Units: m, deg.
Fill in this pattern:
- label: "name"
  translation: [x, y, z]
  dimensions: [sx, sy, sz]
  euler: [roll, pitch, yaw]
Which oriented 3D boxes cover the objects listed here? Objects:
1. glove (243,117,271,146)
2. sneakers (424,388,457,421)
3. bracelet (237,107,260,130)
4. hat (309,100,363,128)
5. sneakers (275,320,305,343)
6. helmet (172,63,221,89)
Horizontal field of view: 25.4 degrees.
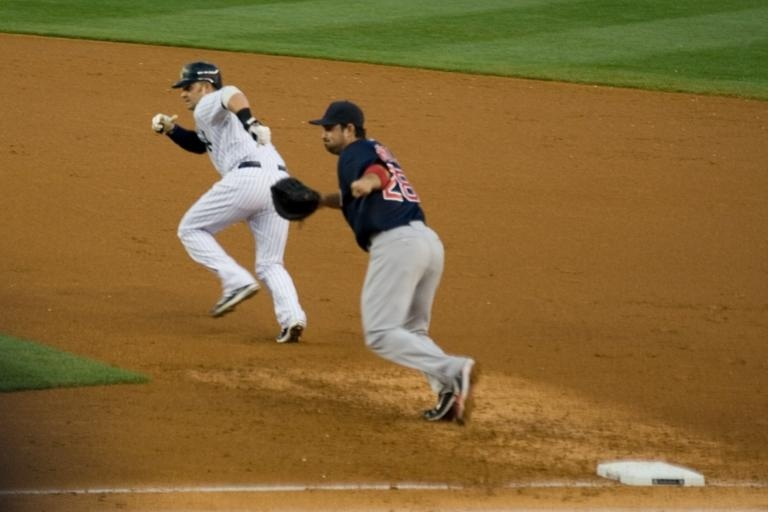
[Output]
- label: "glove"
  translation: [-1.583, -1.558, 21.500]
  dimensions: [0.360, 0.158, 0.269]
  euler: [39, 19, 16]
- label: "sneakers"
  translation: [0.745, 1.858, 21.110]
  dimensions: [0.612, 0.250, 0.207]
  euler: [-27, 13, 49]
- label: "bracelet"
  translation: [-1.707, -1.730, 21.514]
  dimensions: [0.229, 0.119, 0.294]
  euler: [-36, 79, -5]
- label: "hat"
  translation: [-0.553, -1.747, 21.101]
  dimensions: [0.594, 0.250, 0.345]
  euler: [4, 6, 0]
- label: "sneakers"
  translation: [-1.186, 0.995, 22.220]
  dimensions: [0.198, 0.456, 0.202]
  euler: [11, 47, -34]
- label: "helmet"
  translation: [-2.387, -2.330, 22.052]
  dimensions: [0.572, 0.235, 0.334]
  euler: [-2, 5, -6]
